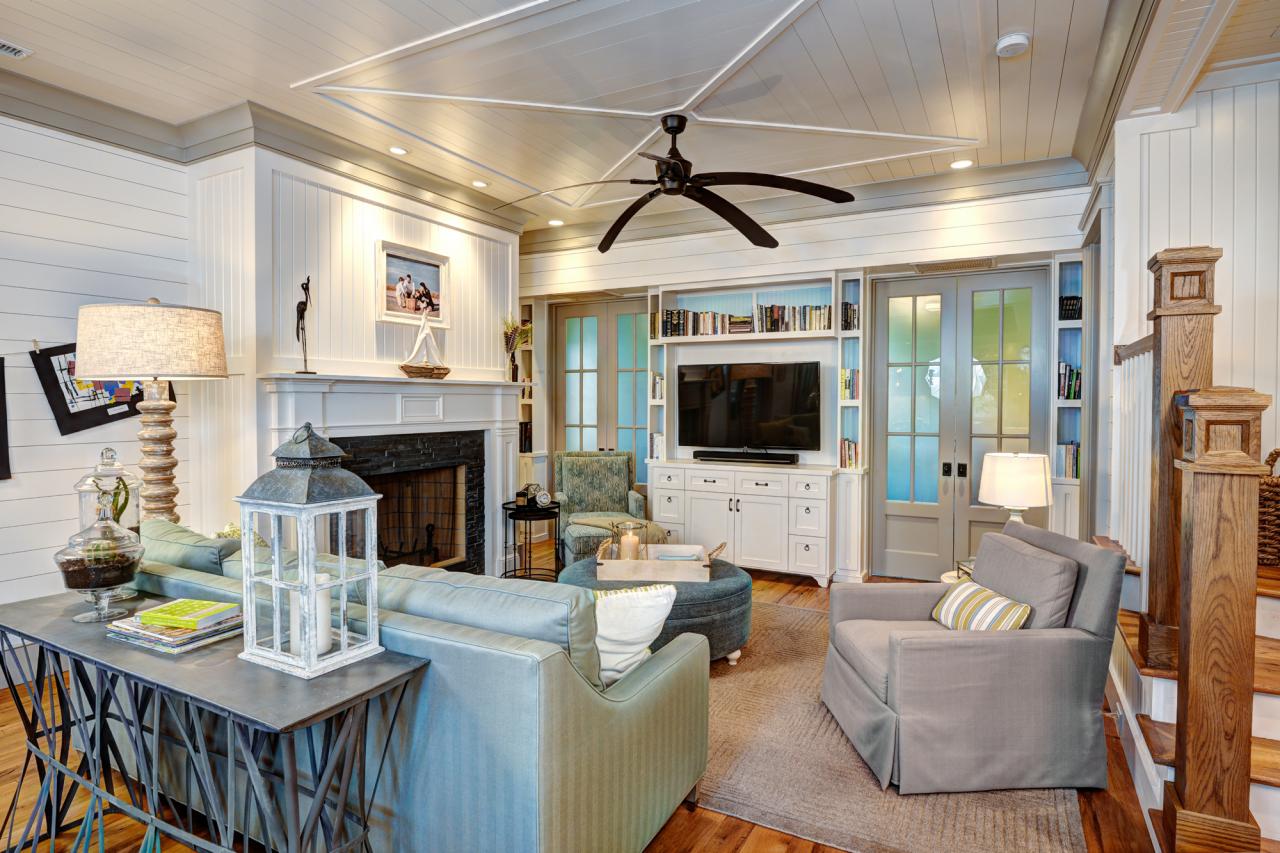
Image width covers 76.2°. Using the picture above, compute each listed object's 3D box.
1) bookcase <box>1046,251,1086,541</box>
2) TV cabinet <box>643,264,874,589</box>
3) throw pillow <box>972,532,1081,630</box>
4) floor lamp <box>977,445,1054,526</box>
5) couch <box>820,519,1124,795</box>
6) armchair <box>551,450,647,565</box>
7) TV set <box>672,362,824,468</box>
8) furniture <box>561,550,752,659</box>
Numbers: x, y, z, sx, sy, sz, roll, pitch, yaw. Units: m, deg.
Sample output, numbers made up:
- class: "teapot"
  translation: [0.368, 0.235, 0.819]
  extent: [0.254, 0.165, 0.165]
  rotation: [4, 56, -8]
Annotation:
- class: "bookcase"
  translation: [3.201, -0.218, 6.079]
  extent: [0.187, 1.932, 0.365]
  rotation: [-10, 18, 11]
- class: "TV cabinet"
  translation: [0.996, 0.024, 7.006]
  extent: [1.761, 2.512, 0.598]
  rotation: [0, 3, 30]
- class: "throw pillow"
  translation: [1.978, 0.810, 4.178]
  extent: [0.159, 0.281, 0.455]
  rotation: [7, 1, -12]
- class: "floor lamp"
  translation: [2.190, 0.378, 4.952]
  extent: [0.468, 0.461, 0.453]
  rotation: [1, -4, -1]
- class: "couch"
  translation: [1.632, 1.145, 4.481]
  extent: [1.384, 1.189, 1.313]
  rotation: [2, -3, -5]
- class: "armchair"
  translation: [-0.349, 0.793, 7.077]
  extent: [0.805, 1.027, 0.856]
  rotation: [0, 11, -9]
- class: "TV set"
  translation: [0.984, -0.084, 7.045]
  extent: [0.982, 0.605, 0.129]
  rotation: [2, 5, 25]
- class: "furniture"
  translation: [0.097, 1.229, 5.359]
  extent: [1.231, 0.428, 1.210]
  rotation: [2, 0, 23]
